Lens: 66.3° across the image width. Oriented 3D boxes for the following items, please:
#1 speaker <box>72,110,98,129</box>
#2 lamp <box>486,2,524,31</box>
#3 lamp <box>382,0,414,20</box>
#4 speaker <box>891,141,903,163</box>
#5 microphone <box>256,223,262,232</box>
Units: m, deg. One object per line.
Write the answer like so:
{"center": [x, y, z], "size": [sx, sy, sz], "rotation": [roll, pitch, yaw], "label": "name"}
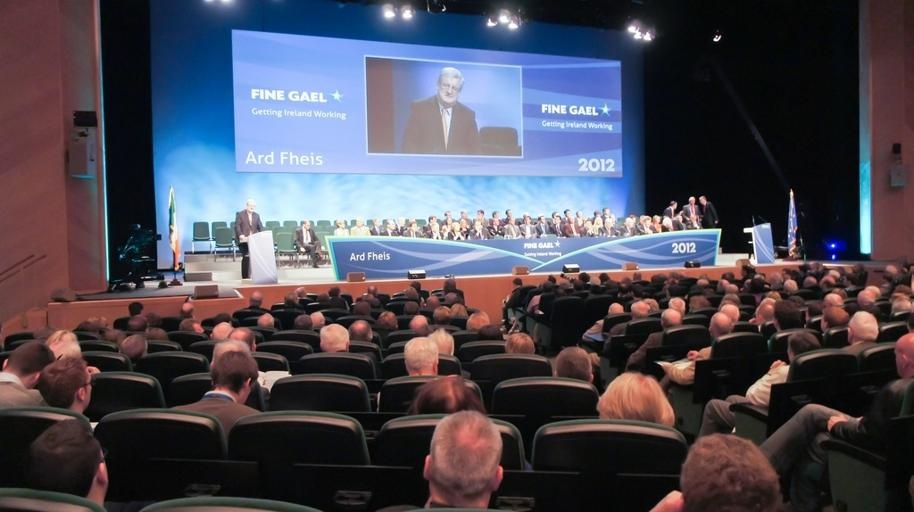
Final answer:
{"center": [-8.400, -3.062, 15.664], "size": [0.514, 0.349, 0.179], "rotation": [-1, -1, -6], "label": "speaker"}
{"center": [1.381, -7.426, 21.848], "size": [1.087, 0.979, 0.379], "rotation": [-2, 5, -14], "label": "lamp"}
{"center": [-1.846, -7.422, 21.036], "size": [1.146, 0.357, 1.106], "rotation": [-4, -4, -3], "label": "lamp"}
{"center": [12.786, -3.040, 20.291], "size": [0.327, 0.587, 0.102], "rotation": [-1, -1, -15], "label": "speaker"}
{"center": [-5.235, -0.766, 18.291], "size": [0.165, 0.266, 0.287], "rotation": [-1, 1, 1], "label": "microphone"}
